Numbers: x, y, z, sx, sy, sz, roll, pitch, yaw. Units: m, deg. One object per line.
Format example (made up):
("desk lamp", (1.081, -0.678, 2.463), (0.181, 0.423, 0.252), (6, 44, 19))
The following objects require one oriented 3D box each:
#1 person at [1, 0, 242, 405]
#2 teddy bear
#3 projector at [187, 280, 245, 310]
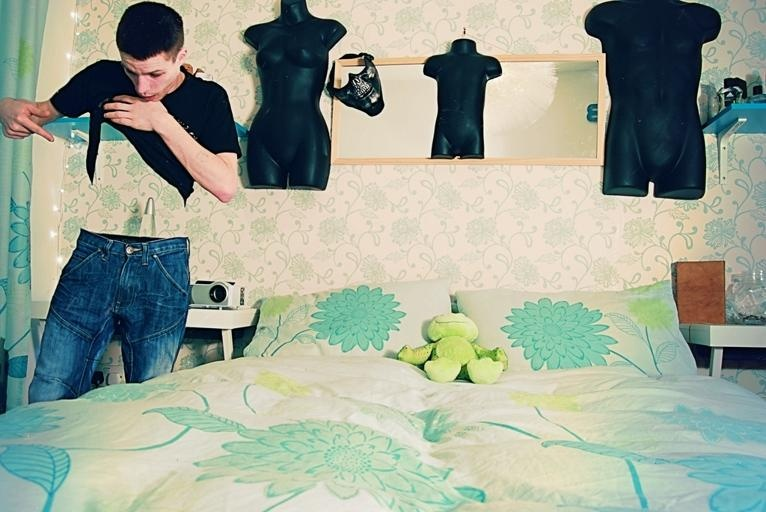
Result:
("person", (-1.183, -0.306, 2.733), (1.008, 1.810, 0.713), (4, -5, -15))
("teddy bear", (0.306, 0.394, 2.565), (0.480, 0.221, 0.363), (1, 6, -14))
("projector", (-0.813, 0.157, 2.932), (0.200, 0.128, 0.144), (1, 0, 8))
